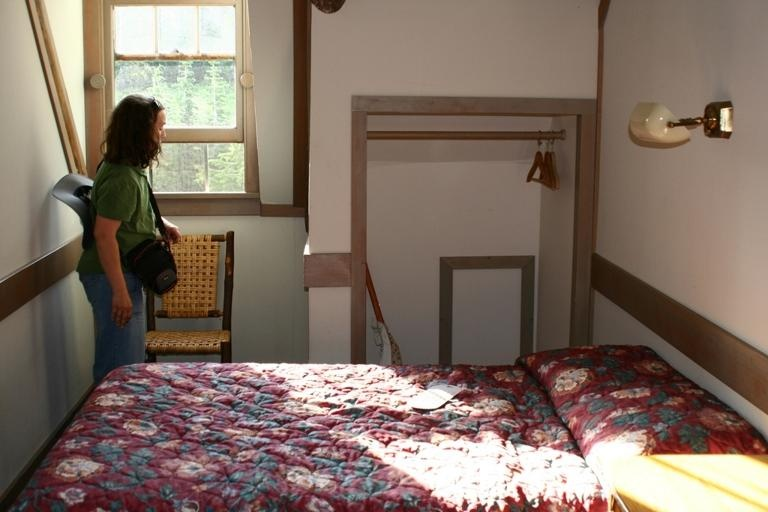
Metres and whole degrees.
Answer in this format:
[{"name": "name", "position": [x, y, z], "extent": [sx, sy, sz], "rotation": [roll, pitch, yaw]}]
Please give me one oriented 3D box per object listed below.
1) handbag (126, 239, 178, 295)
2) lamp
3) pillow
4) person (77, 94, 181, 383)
[{"name": "handbag", "position": [-1.271, 0.058, 2.991], "extent": [0.142, 0.274, 0.207], "rotation": [8, 49, 51]}, {"name": "lamp", "position": [1.224, -0.518, 2.248], "extent": [0.259, 0.095, 0.181], "rotation": [-3, 47, 25]}, {"name": "pillow", "position": [0.992, 0.572, 2.131], "extent": [0.321, 0.109, 0.522], "rotation": [-6, 19, -11]}, {"name": "person", "position": [-1.395, -0.082, 3.007], "extent": [0.413, 1.516, 0.555], "rotation": [15, 22, 42]}]
